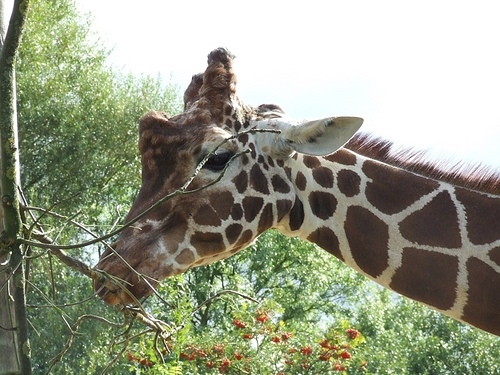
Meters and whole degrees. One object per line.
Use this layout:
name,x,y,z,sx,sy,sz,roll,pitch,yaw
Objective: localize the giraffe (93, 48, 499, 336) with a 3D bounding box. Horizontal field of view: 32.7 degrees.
giraffe,0.893,0.504,14.399,7.528,3.930,3.210,5,-31,-3
